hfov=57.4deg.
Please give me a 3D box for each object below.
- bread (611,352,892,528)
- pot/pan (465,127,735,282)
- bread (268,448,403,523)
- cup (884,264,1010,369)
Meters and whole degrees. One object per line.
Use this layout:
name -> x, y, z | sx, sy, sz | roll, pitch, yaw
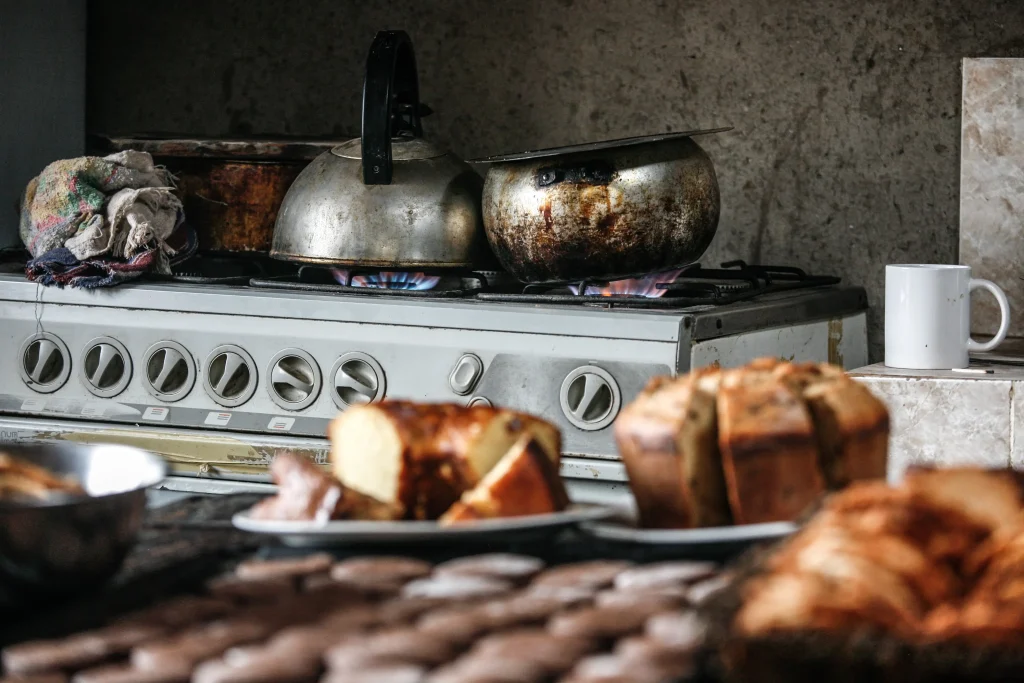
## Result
bread -> 0.115, 0.047, 0.437 | 0.098, 0.057, 0.097 | -4, -2, 8
pot/pan -> 0.114, -0.170, 1.211 | 0.313, 0.185, 0.171 | -4, 11, 1
bread -> -0.095, 0.080, 0.477 | 0.043, 0.017, 0.043 | 19, -8, 28
cup -> 0.494, -0.036, 1.115 | 0.166, 0.123, 0.098 | 1, 1, -9
